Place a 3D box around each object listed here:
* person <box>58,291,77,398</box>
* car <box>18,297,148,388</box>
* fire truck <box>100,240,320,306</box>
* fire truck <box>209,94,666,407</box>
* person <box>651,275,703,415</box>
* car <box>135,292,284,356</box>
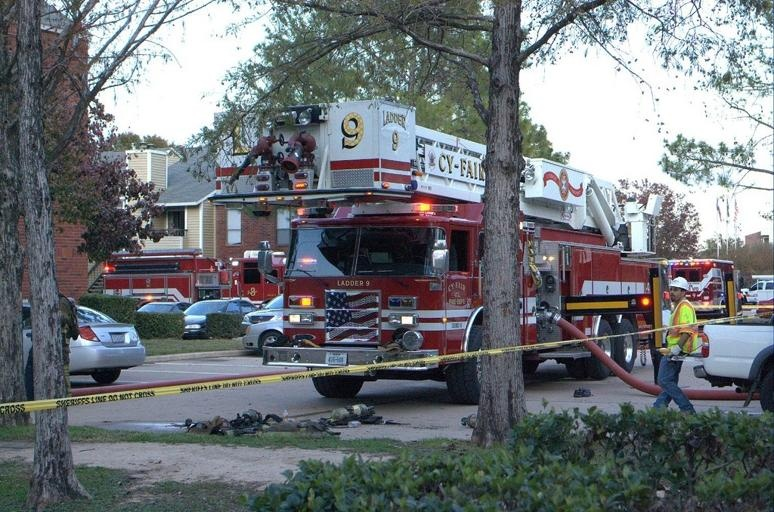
[{"bbox_3d":[-5.043,1.390,17.574,0.387,1.547,0.422,4,5,2],"label":"person"},{"bbox_3d":[-6.504,1.909,23.359,3.246,1.034,1.411,0,-2,35],"label":"car"},{"bbox_3d":[-7.415,1.071,43.163,6.956,2.534,2.191,0,5,9],"label":"fire truck"},{"bbox_3d":[1.435,0.068,23.996,3.993,4.737,11.456,-2,-4,39],"label":"fire truck"},{"bbox_3d":[4.726,1.463,18.144,0.623,2.146,1.523,1,-1,14],"label":"person"},{"bbox_3d":[-5.241,1.887,34.461,2.199,1.689,5.158,-4,-6,26],"label":"car"}]
